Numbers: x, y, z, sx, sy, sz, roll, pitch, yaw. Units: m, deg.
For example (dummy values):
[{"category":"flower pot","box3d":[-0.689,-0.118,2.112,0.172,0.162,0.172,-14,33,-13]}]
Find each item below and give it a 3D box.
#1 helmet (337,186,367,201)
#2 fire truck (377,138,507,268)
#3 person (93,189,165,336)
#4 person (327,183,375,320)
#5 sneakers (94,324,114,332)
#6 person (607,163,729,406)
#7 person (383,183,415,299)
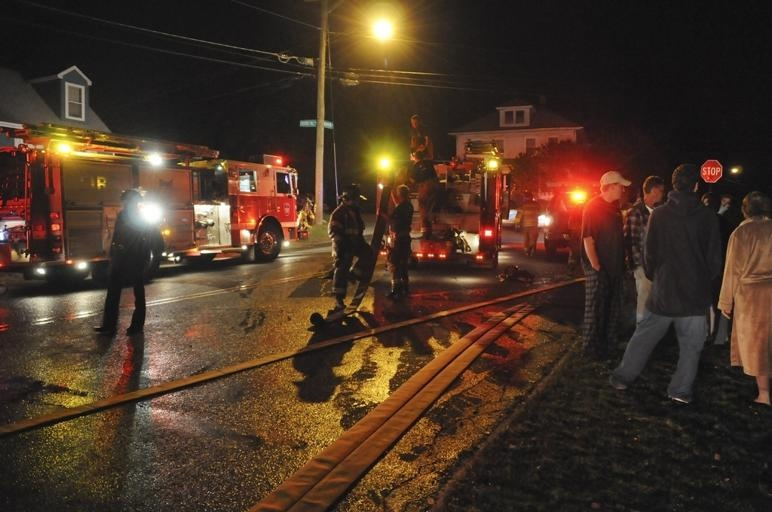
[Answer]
[{"category":"helmet","box3d":[-0.586,-1.109,10.215,0.362,0.216,0.246,-2,8,-14]},{"category":"fire truck","box3d":[2.130,-1.525,16.367,2.564,2.247,3.957,1,9,13]},{"category":"person","box3d":[-4.118,0.084,9.140,0.757,2.131,0.961,-4,13,-11]},{"category":"person","box3d":[-0.586,-0.074,10.099,0.792,2.236,1.238,-2,13,-2]},{"category":"sneakers","box3d":[-4.395,1.121,9.017,0.307,0.107,0.158,2,14,11]},{"category":"person","box3d":[3.164,0.283,6.459,0.924,2.540,0.704,6,14,31]},{"category":"person","box3d":[0.281,-0.300,11.559,0.486,2.078,0.927,-1,12,3]}]
